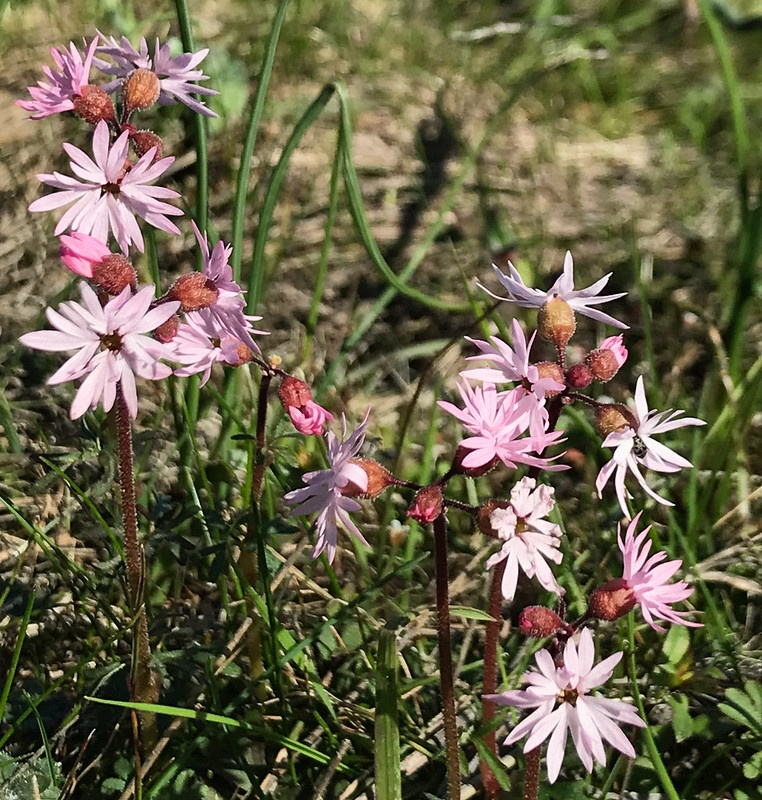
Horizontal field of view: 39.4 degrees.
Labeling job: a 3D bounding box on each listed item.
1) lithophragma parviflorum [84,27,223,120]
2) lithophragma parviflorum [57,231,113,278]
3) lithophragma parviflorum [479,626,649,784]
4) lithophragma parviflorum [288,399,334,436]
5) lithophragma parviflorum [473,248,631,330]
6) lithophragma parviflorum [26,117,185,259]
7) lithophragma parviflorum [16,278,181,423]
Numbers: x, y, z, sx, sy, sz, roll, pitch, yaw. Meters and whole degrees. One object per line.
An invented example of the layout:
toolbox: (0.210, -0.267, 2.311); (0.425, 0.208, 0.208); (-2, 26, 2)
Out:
lithophragma parviflorum: (-0.661, -0.969, 3.125); (0.285, 0.103, 0.246); (-1, 49, -10)
lithophragma parviflorum: (-0.779, -0.366, 2.708); (0.130, 0.047, 0.109); (45, 58, -20)
lithophragma parviflorum: (0.443, 0.721, 2.663); (0.422, 0.163, 0.382); (29, 95, -3)
lithophragma parviflorum: (-0.196, 0.048, 2.961); (0.132, 0.072, 0.083); (24, 102, -2)
lithophragma parviflorum: (0.497, -0.286, 2.890); (0.359, 0.338, 0.083); (-1, 67, 33)
lithophragma parviflorum: (-0.714, -0.534, 2.905); (0.480, 0.174, 0.359); (7, 90, -7)
lithophragma parviflorum: (-0.668, -0.188, 2.524); (0.323, 0.104, 0.283); (-11, 39, -39)
